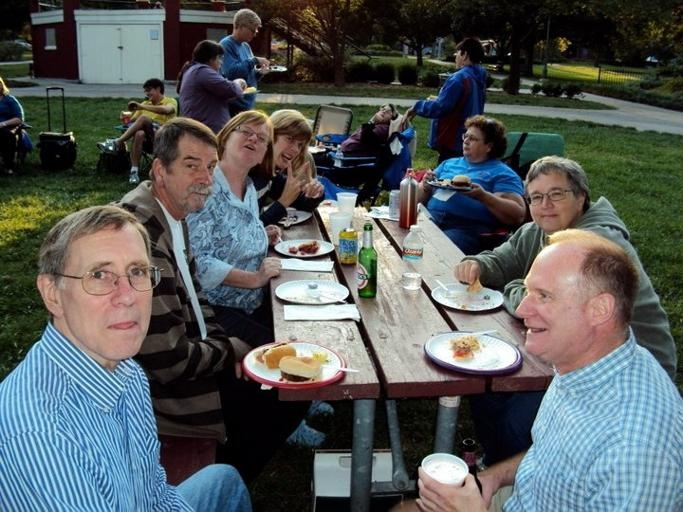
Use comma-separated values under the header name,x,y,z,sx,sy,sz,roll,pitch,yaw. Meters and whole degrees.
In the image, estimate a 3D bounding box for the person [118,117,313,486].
name,x,y,z,sx,sy,sz,roll,pitch,yaw
person,-0.762,0.336,2.820,1.093,1.894,1.012,4,22,-17

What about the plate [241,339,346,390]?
name,x,y,z,sx,sy,sz,roll,pitch,yaw
plate,-0.186,0.465,2.347,0.427,0.157,0.393,-8,17,-26

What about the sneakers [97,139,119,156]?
name,x,y,z,sx,sy,sz,roll,pitch,yaw
sneakers,-4.064,-1.906,9.471,0.326,0.234,0.235,13,18,29

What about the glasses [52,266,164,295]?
name,x,y,z,sx,sy,sz,roll,pitch,yaw
glasses,-0.781,0.055,1.822,0.217,0.079,0.291,13,17,38

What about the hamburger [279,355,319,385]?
name,x,y,z,sx,sy,sz,roll,pitch,yaw
hamburger,-0.176,0.461,2.237,0.117,0.041,0.120,5,6,7

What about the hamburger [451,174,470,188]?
name,x,y,z,sx,sy,sz,roll,pitch,yaw
hamburger,1.018,-0.630,4.634,0.112,0.076,0.138,-4,9,-28

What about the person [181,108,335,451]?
name,x,y,z,sx,sy,sz,roll,pitch,yaw
person,-0.548,0.125,3.854,1.148,2.117,1.027,-7,23,-33

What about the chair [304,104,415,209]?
name,x,y,z,sx,sy,sz,roll,pitch,yaw
chair,0.269,-1.233,6.885,1.347,1.242,1.133,-9,23,-29

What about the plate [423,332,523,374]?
name,x,y,z,sx,sy,sz,roll,pitch,yaw
plate,0.594,0.436,2.452,0.226,0.028,0.218,8,16,17

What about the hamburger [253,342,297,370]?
name,x,y,z,sx,sy,sz,roll,pitch,yaw
hamburger,-0.277,0.419,2.357,0.113,0.052,0.139,-15,1,19

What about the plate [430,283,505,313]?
name,x,y,z,sx,sy,sz,roll,pitch,yaw
plate,0.696,0.196,3.126,0.545,0.124,0.482,2,9,-3
